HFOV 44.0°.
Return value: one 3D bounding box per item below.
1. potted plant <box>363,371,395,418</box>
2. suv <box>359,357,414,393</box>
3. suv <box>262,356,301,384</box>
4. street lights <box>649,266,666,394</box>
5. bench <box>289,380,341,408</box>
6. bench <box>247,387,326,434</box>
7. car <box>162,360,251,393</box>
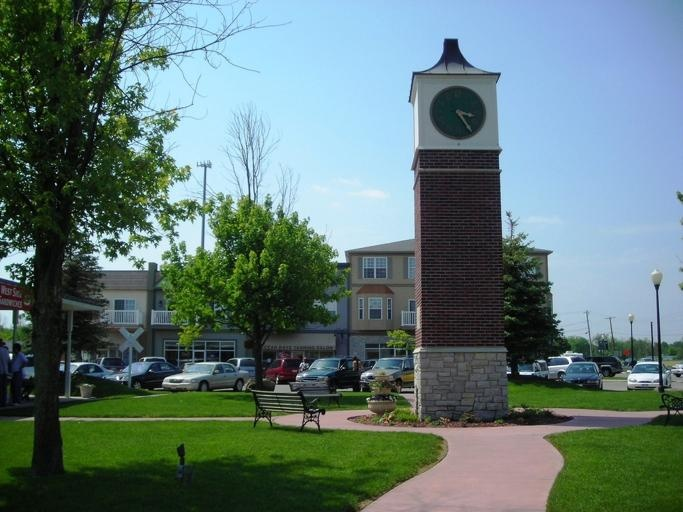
[{"bbox_3d":[1.170,4.312,26.016,0.890,1.161,0.859,0,-3,-1],"label":"potted plant"},{"bbox_3d":[2.455,5.534,39.618,1.894,1.583,4.248,0,-4,27],"label":"suv"},{"bbox_3d":[-3.286,6.140,45.673,1.053,0.765,1.797,1,0,-24],"label":"suv"},{"bbox_3d":[13.290,3.173,35.357,0.829,5.366,0.781,2,-9,-1],"label":"street lights"},{"bbox_3d":[-0.970,4.875,29.783,0.876,0.964,2.219,-5,-2,-32],"label":"bench"},{"bbox_3d":[-1.596,4.437,24.077,0.786,0.893,1.908,1,-5,-43],"label":"bench"},{"bbox_3d":[-5.877,5.521,38.447,2.970,1.464,4.529,-2,-6,15],"label":"car"}]
